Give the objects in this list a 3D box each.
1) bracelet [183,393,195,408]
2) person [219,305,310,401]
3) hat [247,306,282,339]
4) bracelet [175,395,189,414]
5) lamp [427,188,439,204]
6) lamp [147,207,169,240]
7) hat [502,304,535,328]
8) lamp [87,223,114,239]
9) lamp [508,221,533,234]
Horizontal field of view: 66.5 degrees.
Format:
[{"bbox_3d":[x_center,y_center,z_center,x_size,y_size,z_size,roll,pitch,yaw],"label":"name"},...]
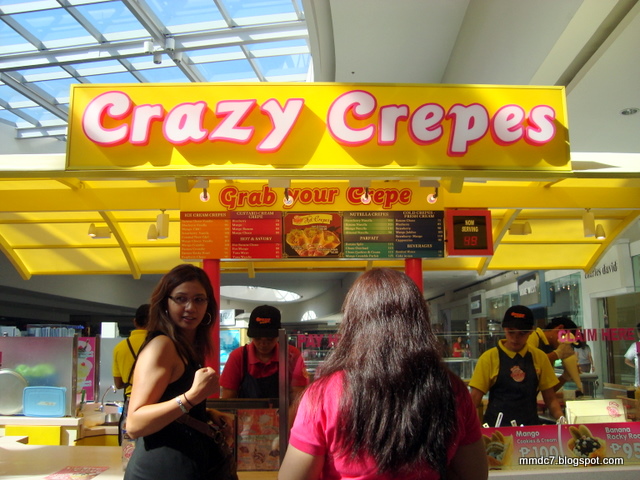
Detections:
[{"bbox_3d":[-0.601,0.732,2.270,0.015,0.054,0.054,-42,1,-15],"label":"bracelet"},{"bbox_3d":[-0.407,0.958,3.392,0.602,0.986,0.547,-2,-10,4],"label":"person"},{"bbox_3d":[-0.382,0.551,3.362,0.221,0.233,0.212,2,-13,-11],"label":"hat"},{"bbox_3d":[-0.634,0.746,2.253,0.065,0.077,0.037,4,-14,-20],"label":"bracelet"},{"bbox_3d":[1.285,-0.495,5.561,0.084,0.068,0.159,-17,-14,-4],"label":"lamp"},{"bbox_3d":[-2.139,-0.206,6.499,0.220,0.434,0.731,5,-14,-23],"label":"lamp"},{"bbox_3d":[1.462,0.555,3.561,0.277,0.180,0.158,8,-16,-36],"label":"hat"},{"bbox_3d":[-3.158,-0.120,7.026,0.341,0.303,0.222,0,-9,-11],"label":"lamp"},{"bbox_3d":[2.941,-0.176,7.193,0.315,0.228,0.169,0,-16,5],"label":"lamp"}]
